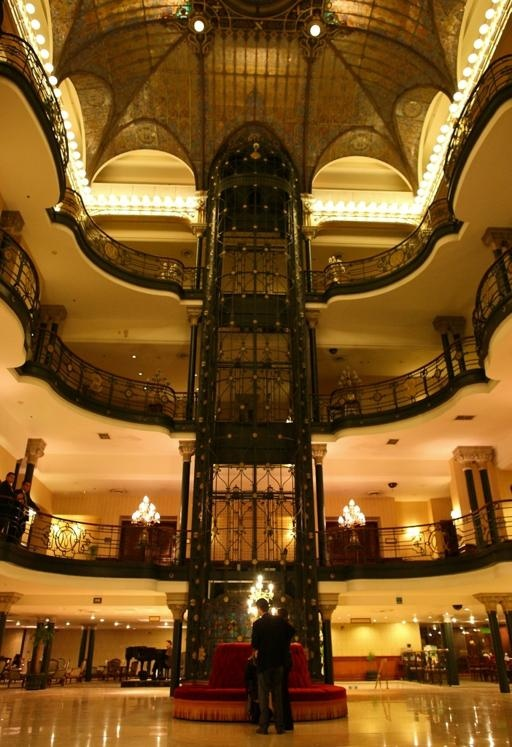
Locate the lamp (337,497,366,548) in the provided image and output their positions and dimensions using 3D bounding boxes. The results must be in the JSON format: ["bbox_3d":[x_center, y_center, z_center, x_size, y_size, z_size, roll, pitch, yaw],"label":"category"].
[{"bbox_3d":[2.486,3.830,13.594,0.657,1.092,0.634,-11,-12,31],"label":"lamp"}]

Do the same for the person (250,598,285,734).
[{"bbox_3d":[0.085,2.067,3.785,0.236,0.842,0.397,1,-27,0],"label":"person"}]

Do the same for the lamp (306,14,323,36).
[{"bbox_3d":[1.525,-8.982,13.828,0.395,0.455,0.556,-1,-27,5],"label":"lamp"}]

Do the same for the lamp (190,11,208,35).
[{"bbox_3d":[-1.499,-9.045,13.815,0.397,0.350,0.583,2,-27,-2],"label":"lamp"}]

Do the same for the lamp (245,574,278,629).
[{"bbox_3d":[0.021,4.277,9.829,0.285,0.516,0.289,24,-10,-33],"label":"lamp"}]
